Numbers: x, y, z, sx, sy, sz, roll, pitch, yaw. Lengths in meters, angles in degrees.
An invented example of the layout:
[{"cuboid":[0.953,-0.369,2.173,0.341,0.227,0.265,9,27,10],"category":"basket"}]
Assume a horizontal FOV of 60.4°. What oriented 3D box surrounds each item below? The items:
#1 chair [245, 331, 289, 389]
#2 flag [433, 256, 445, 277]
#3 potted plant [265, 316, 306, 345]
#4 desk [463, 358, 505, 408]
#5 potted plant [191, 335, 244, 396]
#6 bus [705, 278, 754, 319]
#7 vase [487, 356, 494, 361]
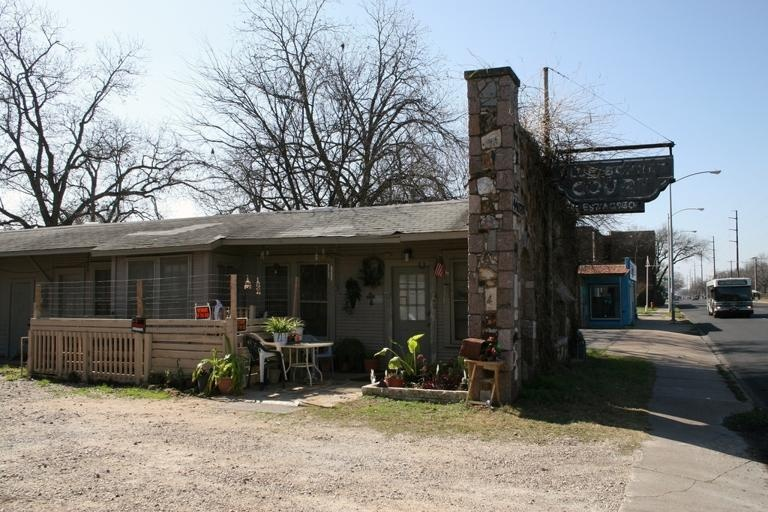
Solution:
[{"cuboid":[-2.467,2.326,14.613,0.809,1.104,0.806,-3,-6,-4],"category":"chair"},{"cuboid":[1.326,0.263,15.774,0.279,0.490,0.245,-3,-5,14],"category":"flag"},{"cuboid":[-2.218,1.637,14.688,0.623,0.436,0.610,4,-12,-18],"category":"potted plant"},{"cuboid":[1.879,2.415,12.627,0.693,0.922,0.724,4,-8,9],"category":"desk"},{"cuboid":[-3.388,2.336,13.778,1.012,1.109,1.193,2,-13,-11],"category":"potted plant"},{"cuboid":[20.967,2.597,40.163,1.708,1.966,4.756,-2,-10,21],"category":"bus"},{"cuboid":[2.028,1.932,12.485,0.114,0.077,0.063,-4,-17,15],"category":"vase"}]
